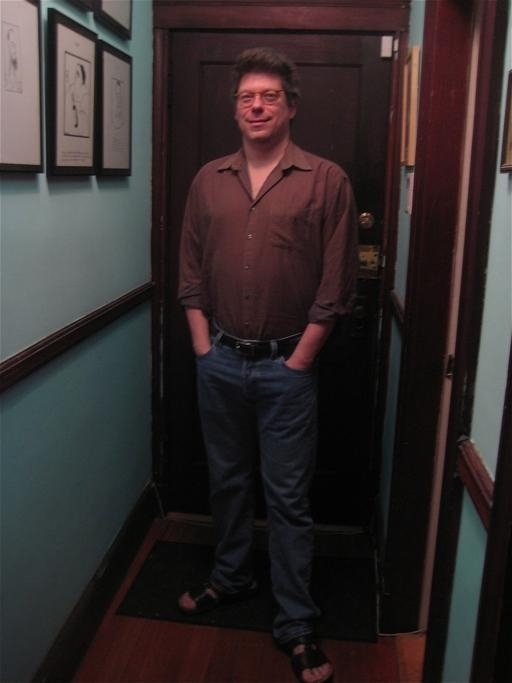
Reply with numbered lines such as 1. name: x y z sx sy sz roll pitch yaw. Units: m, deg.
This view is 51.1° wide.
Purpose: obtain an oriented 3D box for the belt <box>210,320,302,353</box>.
1. belt: -0.006 -0.004 1.517 0.258 0.044 0.083 6 18 14

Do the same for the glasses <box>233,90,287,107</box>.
1. glasses: 0.012 -0.648 1.434 0.112 0.040 0.026 3 15 5

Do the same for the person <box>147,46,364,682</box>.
1. person: -0.011 0.054 1.492 0.539 1.621 0.461 4 14 15
